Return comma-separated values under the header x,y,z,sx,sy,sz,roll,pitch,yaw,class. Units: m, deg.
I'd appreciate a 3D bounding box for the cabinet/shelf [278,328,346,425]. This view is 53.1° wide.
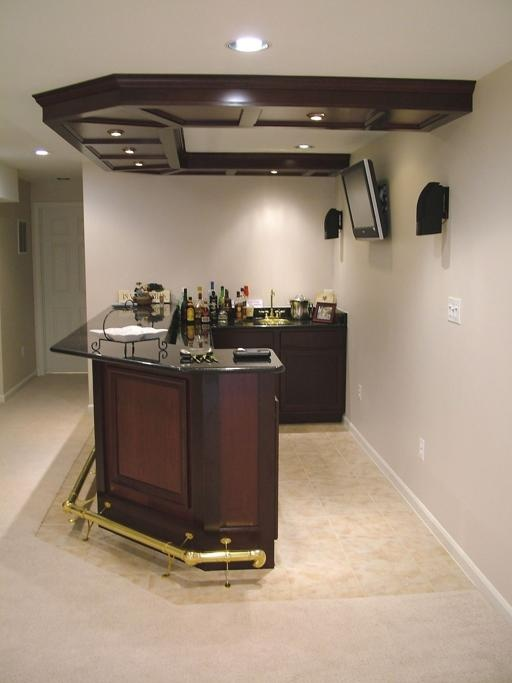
x,y,z,sx,sy,sz,roll,pitch,yaw,class
0.522,0.288,4.878,0.746,1.250,0.618,0,10,0,cabinet/shelf

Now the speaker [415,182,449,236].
x,y,z,sx,sy,sz,roll,pitch,yaw,class
0.926,-0.698,2.696,0.150,0.269,0.194,1,4,10,speaker

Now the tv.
x,y,z,sx,sy,sz,roll,pitch,yaw,class
0.802,-1.024,3.780,0.159,0.562,0.576,-8,11,-5,tv

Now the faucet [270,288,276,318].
x,y,z,sx,sy,sz,roll,pitch,yaw,class
0.164,-0.392,5.312,0.043,0.288,0.112,1,4,0,faucet

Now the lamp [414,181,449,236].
x,y,z,sx,sy,sz,roll,pitch,yaw,class
0.952,-0.654,2.708,0.171,0.321,0.177,-3,-22,27,lamp

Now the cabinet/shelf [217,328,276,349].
x,y,z,sx,sy,sz,roll,pitch,yaw,class
-0.100,-0.024,4.783,0.606,0.208,0.123,0,4,-2,cabinet/shelf

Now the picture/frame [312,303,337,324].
x,y,z,sx,sy,sz,roll,pitch,yaw,class
0.667,-0.281,5.033,0.231,0.205,0.187,1,4,7,picture/frame
